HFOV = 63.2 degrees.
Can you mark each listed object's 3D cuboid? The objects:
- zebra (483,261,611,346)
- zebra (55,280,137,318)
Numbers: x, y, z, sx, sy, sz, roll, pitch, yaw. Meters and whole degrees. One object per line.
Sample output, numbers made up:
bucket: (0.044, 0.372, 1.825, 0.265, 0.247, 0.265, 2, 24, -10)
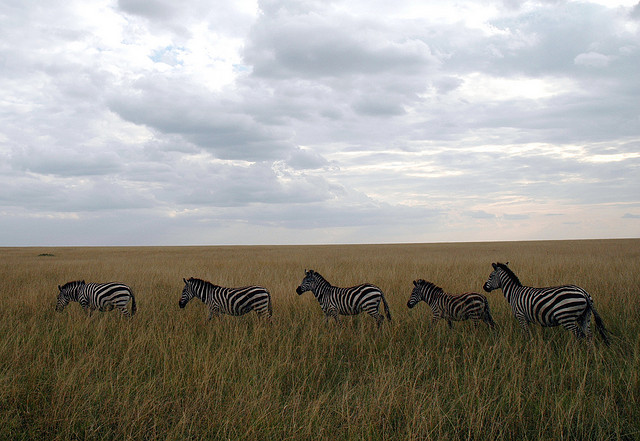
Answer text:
zebra: (5.332, 2.126, 12.440, 0.920, 2.082, 3.019, -9, 7, -39)
zebra: (-6.180, 2.178, 14.290, 2.302, 0.988, 0.431, -3, -3, 22)
